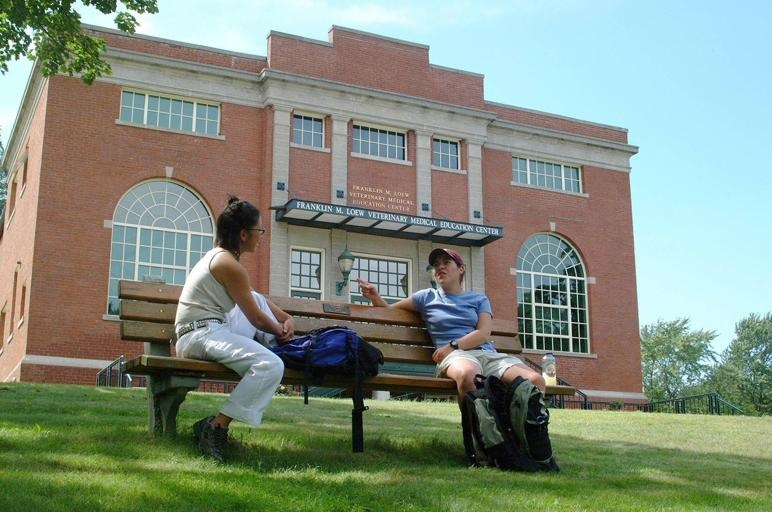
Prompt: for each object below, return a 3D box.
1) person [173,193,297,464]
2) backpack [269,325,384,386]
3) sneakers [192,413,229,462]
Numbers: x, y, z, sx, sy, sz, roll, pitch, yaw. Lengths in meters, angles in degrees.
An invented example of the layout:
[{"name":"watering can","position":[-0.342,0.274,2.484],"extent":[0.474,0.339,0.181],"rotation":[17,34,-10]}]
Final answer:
[{"name":"person","position":[-1.730,0.763,9.421],"extent":[1.279,2.443,0.925],"rotation":[6,-3,-13]},{"name":"backpack","position":[-0.666,1.150,9.738],"extent":[0.972,0.397,0.641],"rotation":[1,2,-11]},{"name":"sneakers","position":[-1.954,1.951,9.147],"extent":[0.290,0.623,0.227],"rotation":[-50,-33,20]}]
